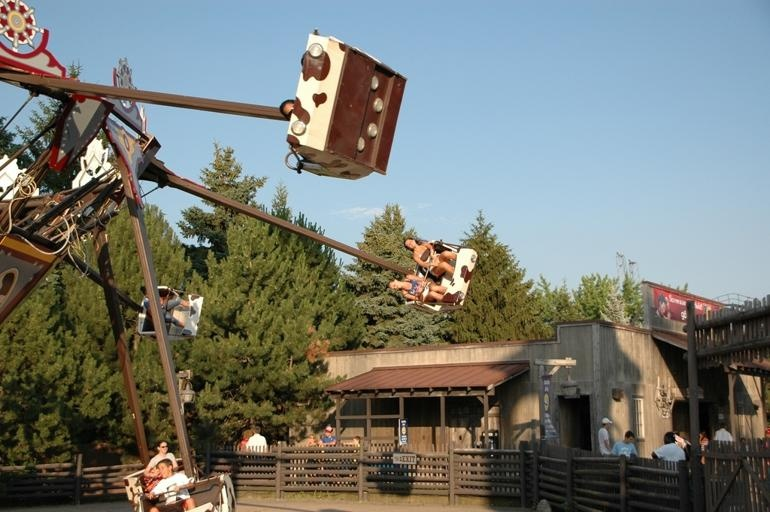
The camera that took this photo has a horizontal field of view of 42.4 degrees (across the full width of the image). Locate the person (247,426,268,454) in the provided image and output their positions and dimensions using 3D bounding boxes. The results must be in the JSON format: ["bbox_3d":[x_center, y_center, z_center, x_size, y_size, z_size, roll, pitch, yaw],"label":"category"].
[{"bbox_3d":[-4.824,7.087,37.314,0.855,0.919,1.523,4,-19,-8],"label":"person"}]

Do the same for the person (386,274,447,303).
[{"bbox_3d":[0.717,0.790,23.118,1.291,0.640,0.587,13,3,19],"label":"person"}]

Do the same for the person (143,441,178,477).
[{"bbox_3d":[-6.157,5.758,27.346,0.875,1.229,0.667,-2,3,-10],"label":"person"}]
